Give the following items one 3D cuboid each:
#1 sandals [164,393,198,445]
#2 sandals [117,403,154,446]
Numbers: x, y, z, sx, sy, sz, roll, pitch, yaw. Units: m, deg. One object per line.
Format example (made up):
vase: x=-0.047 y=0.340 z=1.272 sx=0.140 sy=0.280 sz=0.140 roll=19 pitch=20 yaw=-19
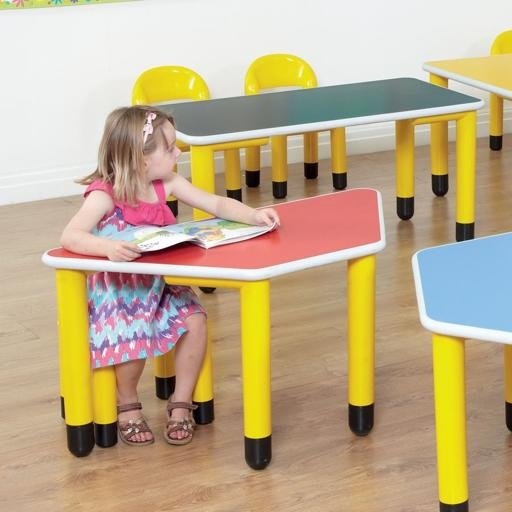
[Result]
sandals: x=-0.166 y=0.351 z=1.193 sx=0.046 sy=0.046 sz=0.117 roll=0 pitch=11 yaw=-2
sandals: x=-0.268 y=0.371 z=1.225 sx=0.073 sy=0.077 sz=0.184 roll=-6 pitch=-7 yaw=-21
